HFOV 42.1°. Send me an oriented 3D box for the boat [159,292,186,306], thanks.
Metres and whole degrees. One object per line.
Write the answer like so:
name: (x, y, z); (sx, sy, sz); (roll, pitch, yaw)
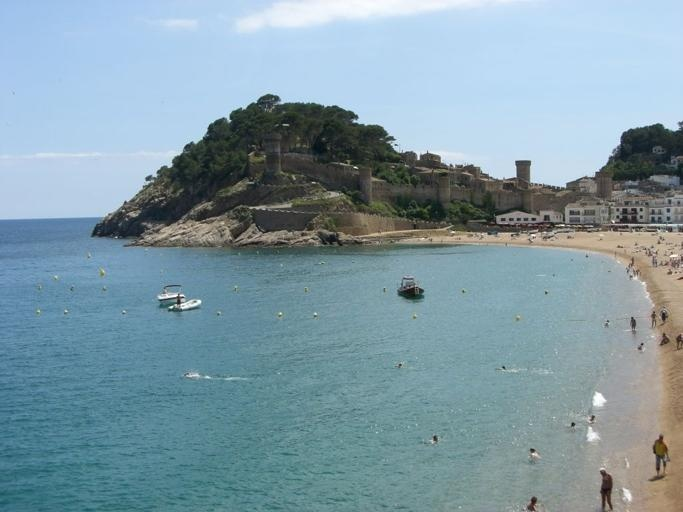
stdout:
boat: (-16.811, 4.037, 86.689); (2.301, 0.858, 1.409); (-3, 11, -23)
